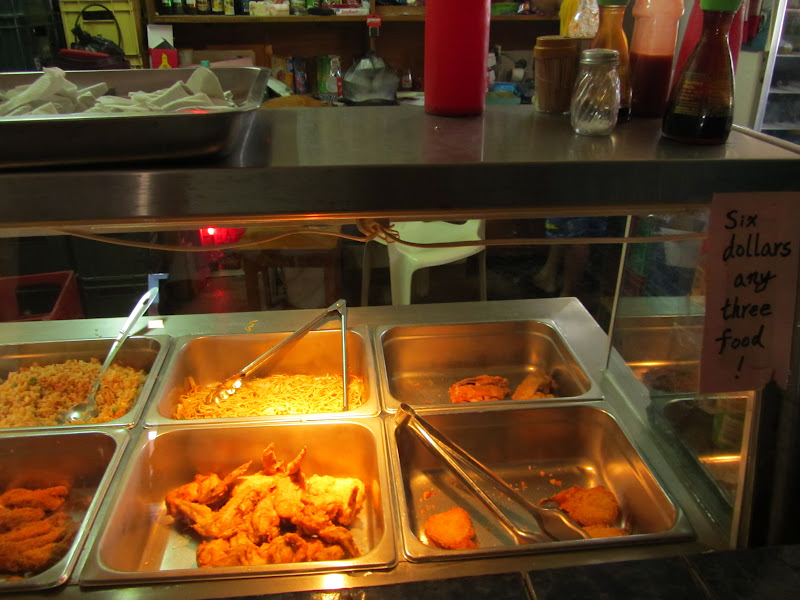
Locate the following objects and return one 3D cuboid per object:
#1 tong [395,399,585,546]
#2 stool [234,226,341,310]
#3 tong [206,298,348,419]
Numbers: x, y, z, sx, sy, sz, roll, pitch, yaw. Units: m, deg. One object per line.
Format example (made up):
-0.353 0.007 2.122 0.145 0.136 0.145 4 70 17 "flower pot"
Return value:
0.133 0.344 1.268 0.470 0.068 0.138 42 55 18 "tong"
-0.460 -0.067 2.719 0.411 0.363 0.689 0 -19 -4 "stool"
-0.279 0.126 1.525 0.335 0.195 0.274 1 23 3 "tong"
